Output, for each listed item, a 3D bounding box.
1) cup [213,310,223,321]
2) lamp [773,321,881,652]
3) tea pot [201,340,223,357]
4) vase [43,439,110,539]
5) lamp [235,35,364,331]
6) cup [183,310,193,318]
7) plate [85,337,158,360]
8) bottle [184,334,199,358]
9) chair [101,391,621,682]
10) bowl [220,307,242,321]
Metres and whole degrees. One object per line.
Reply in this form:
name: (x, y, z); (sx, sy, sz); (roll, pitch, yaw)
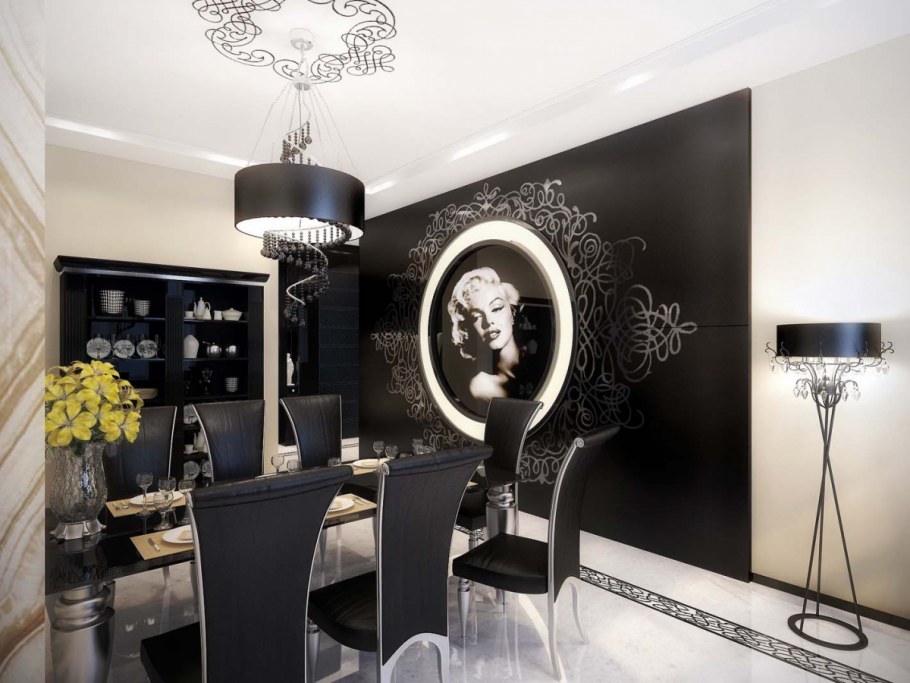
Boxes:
cup: (-2.312, -0.261, 6.324); (0.088, 0.096, 0.092); (-1, -9, 0)
lamp: (2.177, 0.754, 3.850); (0.659, 1.788, 0.835); (5, 10, 27)
tea pot: (-2.376, 0.065, 6.308); (0.115, 0.144, 0.194); (-1, -5, -3)
vase: (-1.899, 0.755, 3.348); (0.353, 0.580, 0.395); (0, -7, -20)
lamp: (-0.995, -1.083, 4.175); (0.735, 1.754, 0.774); (-1, 6, -19)
cup: (-2.544, -0.266, 6.175); (0.056, 0.058, 0.069); (-7, -12, 40)
plate: (-2.960, 0.049, 5.785); (0.565, 0.209, 0.229); (-5, 11, -29)
bottle: (-2.469, 0.034, 6.080); (0.160, 0.238, 0.171); (-1, -1, 0)
chair: (-0.374, 0.939, 3.395); (2.066, 1.366, 1.242); (2, -5, -28)
bowl: (-2.187, -0.264, 6.367); (0.126, 0.100, 0.127); (-1, -6, 0)
